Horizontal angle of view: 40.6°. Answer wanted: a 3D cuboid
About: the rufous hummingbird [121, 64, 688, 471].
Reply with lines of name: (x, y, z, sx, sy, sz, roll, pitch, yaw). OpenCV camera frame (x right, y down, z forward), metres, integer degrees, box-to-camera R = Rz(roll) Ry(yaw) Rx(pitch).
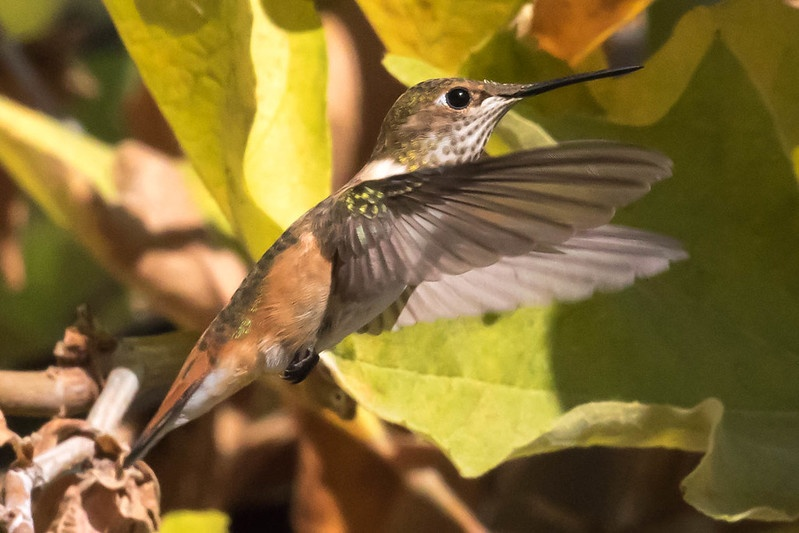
rufous hummingbird: (-0.035, -0.019, 0.928, 0.469, 0.279, 0.200, -16, 73, 5)
